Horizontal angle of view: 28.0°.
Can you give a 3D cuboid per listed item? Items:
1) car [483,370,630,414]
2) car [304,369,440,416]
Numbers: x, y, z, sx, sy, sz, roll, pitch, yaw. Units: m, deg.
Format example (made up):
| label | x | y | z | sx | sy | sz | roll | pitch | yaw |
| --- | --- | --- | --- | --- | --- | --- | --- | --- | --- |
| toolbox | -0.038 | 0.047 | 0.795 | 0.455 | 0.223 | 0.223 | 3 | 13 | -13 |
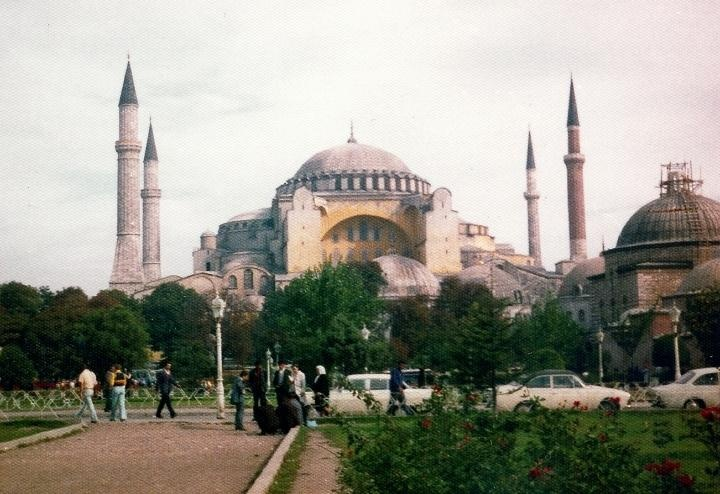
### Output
| label | x | y | z | sx | sy | sz | roll | pitch | yaw |
| --- | --- | --- | --- | --- | --- | --- | --- | --- | --- |
| car | 6.083 | 4.445 | 42.822 | 4.526 | 0.987 | 1.757 | 0 | -2 | -3 |
| car | 1.258 | 4.407 | 43.830 | 4.489 | 1.013 | 1.562 | 0 | -7 | -2 |
